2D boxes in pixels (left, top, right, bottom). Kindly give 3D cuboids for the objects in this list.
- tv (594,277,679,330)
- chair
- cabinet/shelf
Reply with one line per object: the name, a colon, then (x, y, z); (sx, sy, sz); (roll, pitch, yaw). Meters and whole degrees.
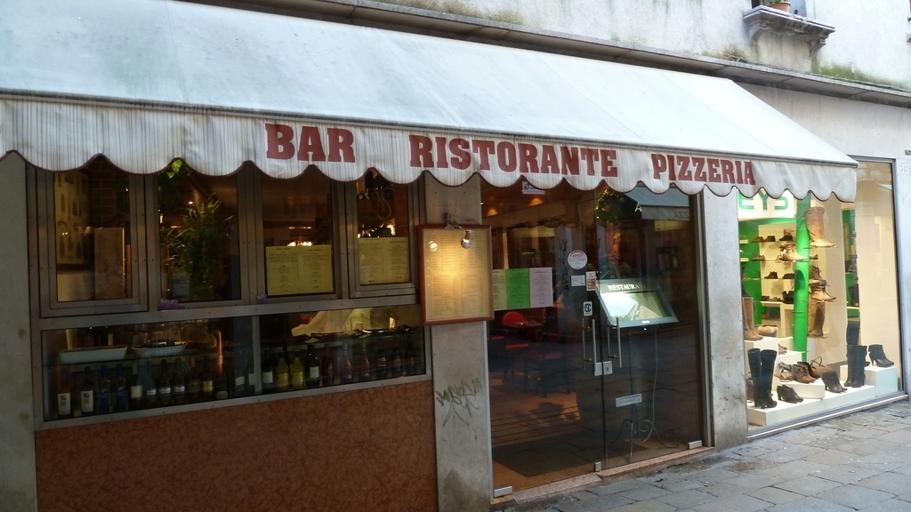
tv: (2.712, 0.751, 12.219); (1.169, 0.730, 0.408); (-3, -12, -20)
chair: (1.074, 1.347, 11.538); (1.202, 1.468, 0.773); (2, 0, -3)
cabinet/shelf: (5.285, 0.523, 13.403); (1.866, 1.696, 1.010); (1, -4, -34)
